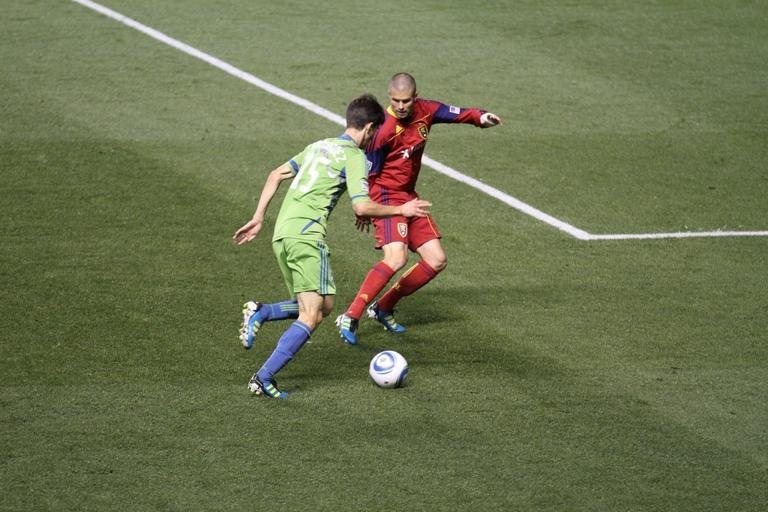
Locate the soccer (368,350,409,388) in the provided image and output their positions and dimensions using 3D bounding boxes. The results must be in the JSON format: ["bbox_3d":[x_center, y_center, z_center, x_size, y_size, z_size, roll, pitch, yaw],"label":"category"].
[{"bbox_3d":[0.040,1.168,14.492,0.402,0.361,0.460,-4,32,5],"label":"soccer"}]

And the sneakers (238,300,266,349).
[{"bbox_3d":[-1.390,0.702,14.500,0.259,0.503,0.196,6,0,7],"label":"sneakers"}]
